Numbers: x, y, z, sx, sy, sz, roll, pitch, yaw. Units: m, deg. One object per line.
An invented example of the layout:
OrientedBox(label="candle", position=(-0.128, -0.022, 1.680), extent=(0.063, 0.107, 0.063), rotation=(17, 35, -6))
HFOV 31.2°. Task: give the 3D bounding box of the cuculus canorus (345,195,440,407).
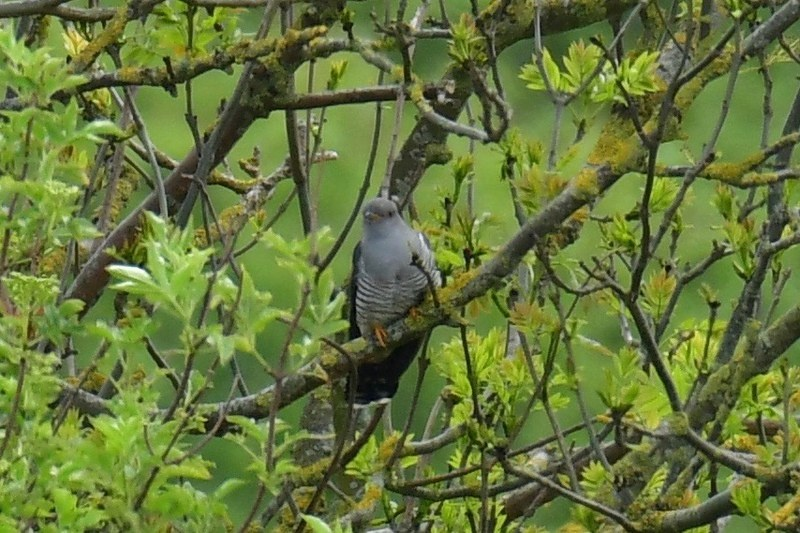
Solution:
OrientedBox(label="cuculus canorus", position=(-0.019, 0.037, 6.484), extent=(0.407, 0.682, 1.208), rotation=(-2, -3, 1))
